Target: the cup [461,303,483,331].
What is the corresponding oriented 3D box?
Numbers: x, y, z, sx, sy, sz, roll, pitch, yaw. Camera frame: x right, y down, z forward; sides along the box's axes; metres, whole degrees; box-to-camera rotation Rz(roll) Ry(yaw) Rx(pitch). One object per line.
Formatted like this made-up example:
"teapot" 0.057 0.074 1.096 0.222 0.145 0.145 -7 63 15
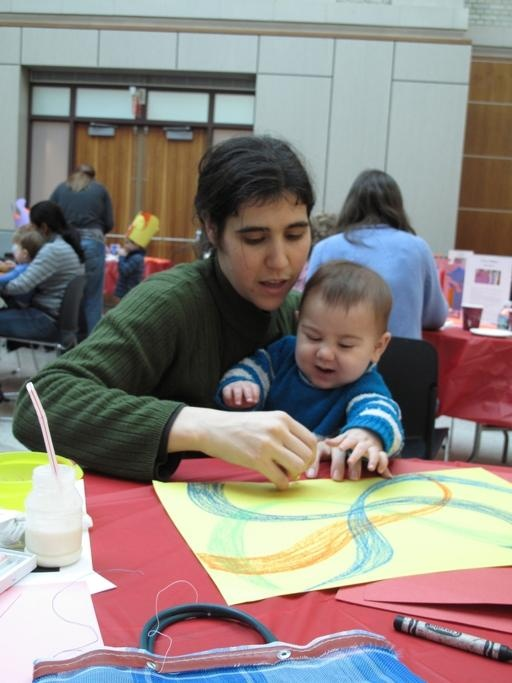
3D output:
"cup" 1.064 -0.118 2.979 0.120 0.119 0.119 0 2 0
